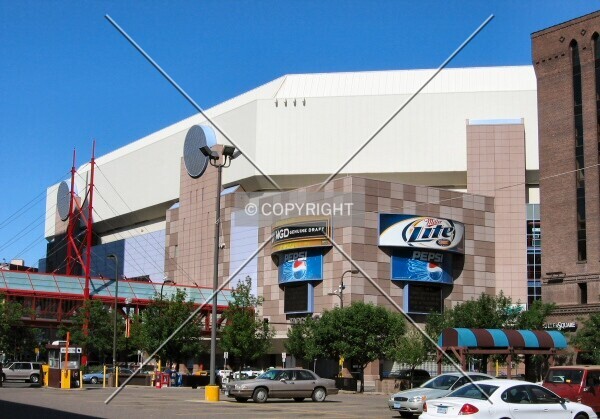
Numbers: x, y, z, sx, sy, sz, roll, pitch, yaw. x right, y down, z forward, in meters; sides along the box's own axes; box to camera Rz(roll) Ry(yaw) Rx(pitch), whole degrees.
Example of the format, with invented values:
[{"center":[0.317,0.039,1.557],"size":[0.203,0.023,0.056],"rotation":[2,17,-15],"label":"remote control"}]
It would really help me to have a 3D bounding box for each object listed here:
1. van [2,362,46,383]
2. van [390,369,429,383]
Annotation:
[{"center":[-28.575,16.305,103.198],"size":[4.585,2.001,2.684],"rotation":[5,-17,-1],"label":"van"},{"center":[10.233,15.169,92.351],"size":[3.029,1.070,1.413],"rotation":[2,-4,19],"label":"van"}]
